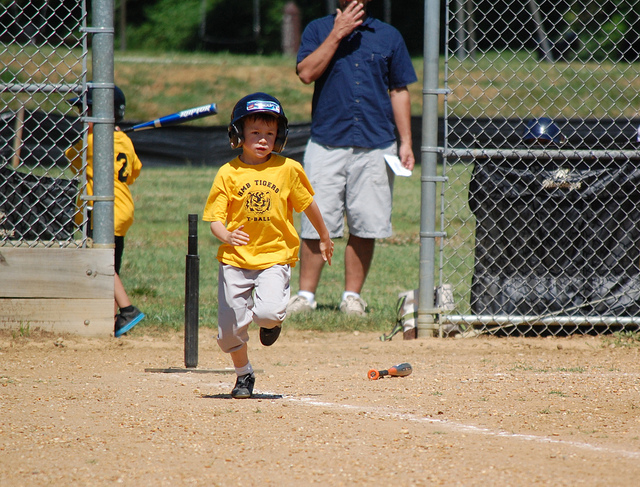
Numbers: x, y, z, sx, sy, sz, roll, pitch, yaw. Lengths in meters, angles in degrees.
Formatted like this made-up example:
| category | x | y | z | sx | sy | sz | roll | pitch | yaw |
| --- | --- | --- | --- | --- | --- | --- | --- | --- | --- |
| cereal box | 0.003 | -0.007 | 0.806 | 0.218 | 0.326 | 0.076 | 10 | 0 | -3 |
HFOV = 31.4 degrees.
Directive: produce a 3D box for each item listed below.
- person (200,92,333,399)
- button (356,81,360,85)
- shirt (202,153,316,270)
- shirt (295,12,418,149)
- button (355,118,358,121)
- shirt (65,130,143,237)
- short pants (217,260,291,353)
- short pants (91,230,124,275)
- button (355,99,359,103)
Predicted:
| category | x | y | z | sx | sy | sz | roll | pitch | yaw |
| --- | --- | --- | --- | --- | --- | --- | --- | --- | --- |
| person | -0.400 | -0.032 | 7.837 | 0.798 | 2.030 | 1.337 | -1 | 12 | -6 |
| button | 0.291 | -1.252 | 8.901 | 0.025 | 0.026 | 0.006 | 6 | -2 | 1 |
| shirt | -0.401 | -0.233 | 7.466 | 0.703 | 0.719 | 0.407 | -2 | 16 | -7 |
| shirt | 0.341 | -1.272 | 9.024 | 0.825 | 1.026 | 0.284 | 1 | 12 | 2 |
| button | 0.286 | -0.976 | 8.963 | 0.013 | 0.020 | 0.006 | -4 | 7 | -2 |
| shirt | -1.622 | -0.461 | 8.729 | 0.610 | 0.848 | 0.716 | -6 | 14 | -26 |
| short pants | -0.443 | 0.391 | 7.427 | 0.467 | 0.764 | 0.330 | 6 | 10 | 11 |
| short pants | -1.645 | 0.043 | 8.799 | 0.224 | 0.431 | 0.632 | -1 | 13 | -6 |
| button | 0.291 | -1.113 | 8.923 | 0.025 | 0.025 | 0.002 | -3 | 12 | -12 |
